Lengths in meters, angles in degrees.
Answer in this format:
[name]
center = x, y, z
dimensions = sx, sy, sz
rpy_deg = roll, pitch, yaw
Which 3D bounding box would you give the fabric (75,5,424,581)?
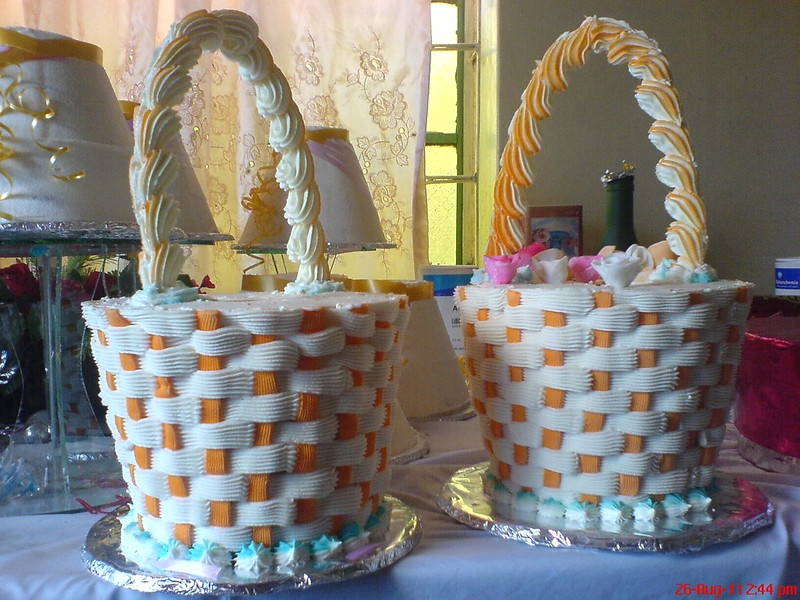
[fabric]
center = -0.221, -0.019, 1.459
dimensions = 0.457, 0.798, 0.246
rpy_deg = -3, 6, -1
